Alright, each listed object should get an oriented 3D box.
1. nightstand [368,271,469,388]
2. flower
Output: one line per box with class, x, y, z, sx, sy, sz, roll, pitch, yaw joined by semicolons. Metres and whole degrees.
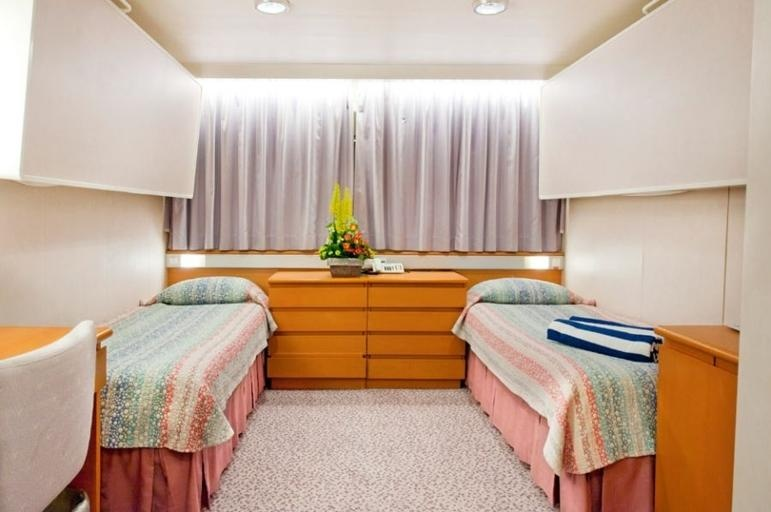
nightstand;0.251;0.626;5.111;1.137;1.167;0.825;-1;-4;1
flower;-0.382;-0.342;5.224;0.622;0.768;0.652;1;3;13
